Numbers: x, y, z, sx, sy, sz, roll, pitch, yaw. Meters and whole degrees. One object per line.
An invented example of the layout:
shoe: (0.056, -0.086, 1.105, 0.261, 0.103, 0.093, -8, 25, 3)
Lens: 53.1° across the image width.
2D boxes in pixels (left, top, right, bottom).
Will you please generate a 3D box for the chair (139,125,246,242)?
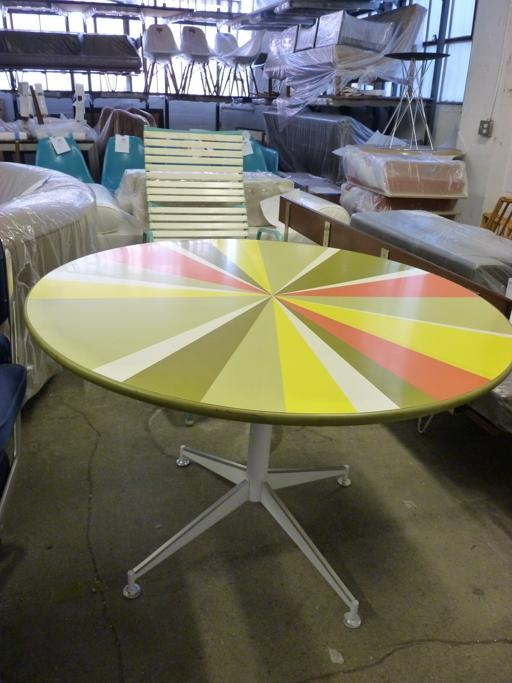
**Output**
chair: (-0.313, -0.818, 2.673, 0.518, 0.511, 0.428, -2, 25, -11)

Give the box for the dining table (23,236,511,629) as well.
dining table: (0.000, 0.129, 1.352, 1.008, 0.617, 0.986, 12, 32, 0)
